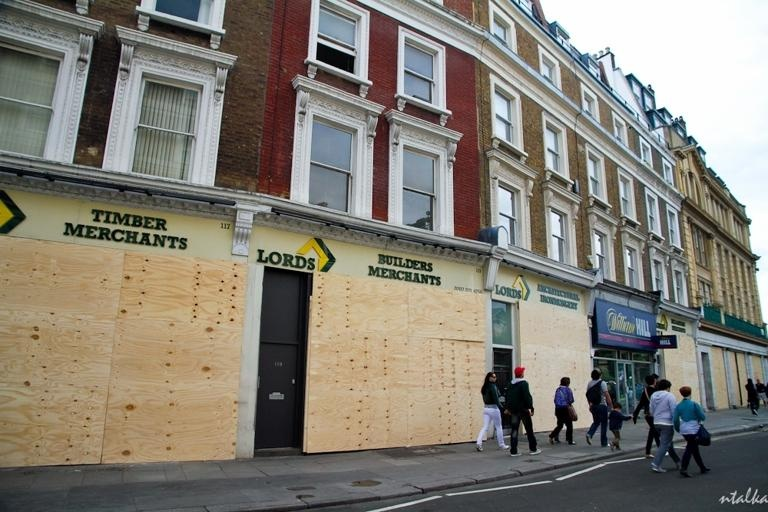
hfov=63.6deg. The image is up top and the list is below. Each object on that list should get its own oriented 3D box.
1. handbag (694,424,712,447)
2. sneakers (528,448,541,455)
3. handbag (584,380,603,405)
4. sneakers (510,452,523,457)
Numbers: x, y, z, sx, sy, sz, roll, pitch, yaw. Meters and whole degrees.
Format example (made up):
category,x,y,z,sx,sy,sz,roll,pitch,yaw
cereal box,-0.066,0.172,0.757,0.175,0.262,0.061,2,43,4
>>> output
category,x,y,z,sx,sy,sz,roll,pitch,yaw
handbag,7.941,4.530,15.510,0.400,0.471,0.198,12,-18,-40
sneakers,4.392,5.742,18.062,0.446,0.162,0.147,-1,1,-41
handbag,6.477,4.275,19.080,0.459,0.736,0.357,-6,-15,28
sneakers,3.784,5.759,17.789,0.333,0.117,0.108,3,-5,-31
